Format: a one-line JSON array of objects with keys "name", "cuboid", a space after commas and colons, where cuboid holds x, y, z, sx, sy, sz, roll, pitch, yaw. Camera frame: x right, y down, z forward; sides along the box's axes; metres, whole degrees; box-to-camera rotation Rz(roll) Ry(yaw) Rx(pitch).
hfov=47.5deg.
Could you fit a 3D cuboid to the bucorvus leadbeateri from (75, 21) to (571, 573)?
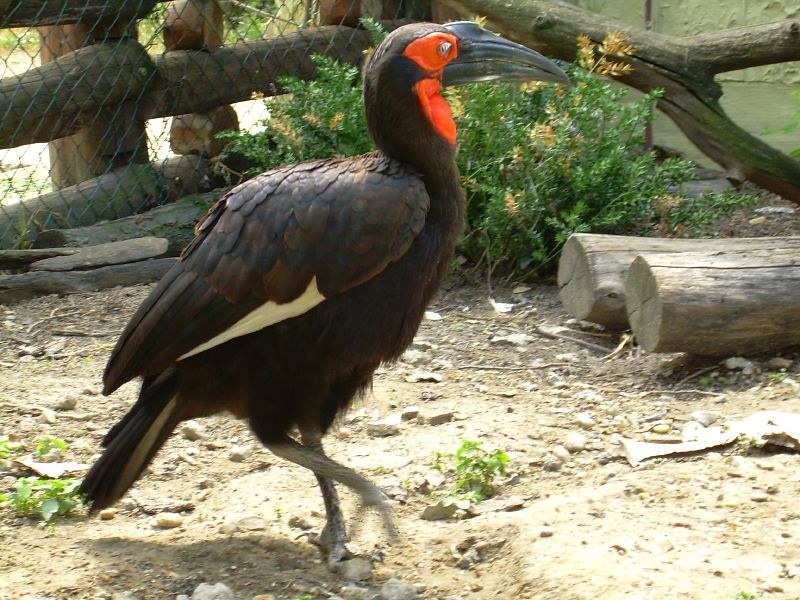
[{"name": "bucorvus leadbeateri", "cuboid": [-0.314, -0.120, 3.397, 1.720, 1.769, 0.706, -16, 23, -34]}]
